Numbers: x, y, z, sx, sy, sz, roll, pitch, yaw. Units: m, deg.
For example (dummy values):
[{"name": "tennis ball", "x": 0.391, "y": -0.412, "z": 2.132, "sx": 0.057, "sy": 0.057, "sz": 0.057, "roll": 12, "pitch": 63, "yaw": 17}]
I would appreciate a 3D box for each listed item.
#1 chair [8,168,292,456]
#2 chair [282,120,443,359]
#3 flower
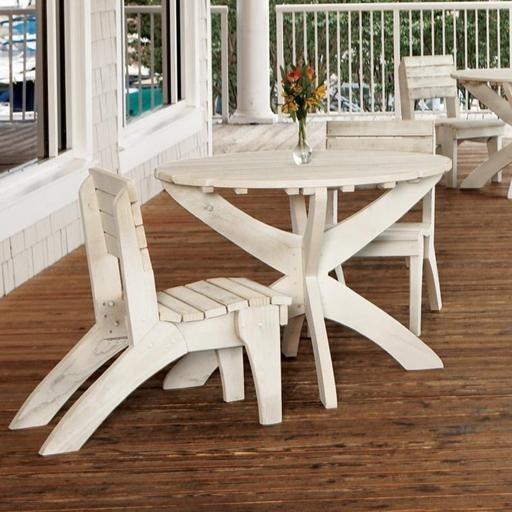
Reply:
[{"name": "chair", "x": -0.255, "y": 0.107, "z": 2.167, "sx": 0.947, "sy": 0.856, "sz": 0.570, "roll": -3, "pitch": 11, "yaw": -18}, {"name": "chair", "x": 0.562, "y": -0.132, "z": 3.163, "sx": 0.572, "sy": 0.840, "sz": 0.651, "roll": 1, "pitch": -9, "yaw": 11}, {"name": "flower", "x": 0.153, "y": -0.528, "z": 2.235, "sx": 0.167, "sy": 0.169, "sz": 0.138, "roll": -1, "pitch": 4, "yaw": -27}]
